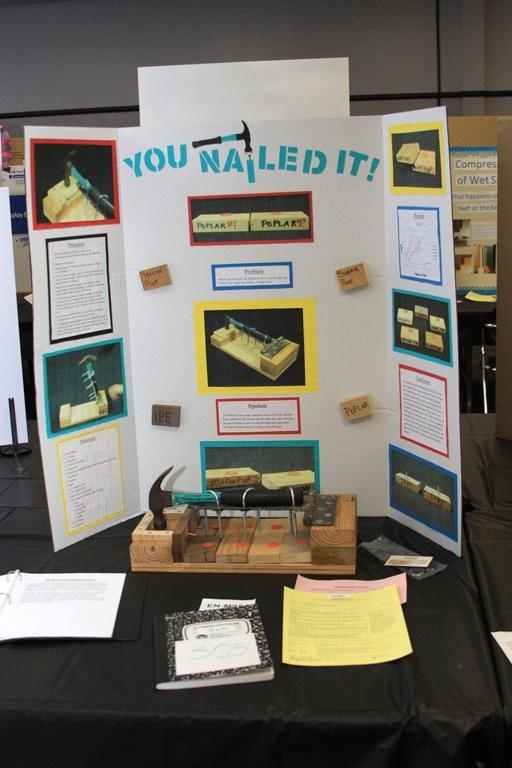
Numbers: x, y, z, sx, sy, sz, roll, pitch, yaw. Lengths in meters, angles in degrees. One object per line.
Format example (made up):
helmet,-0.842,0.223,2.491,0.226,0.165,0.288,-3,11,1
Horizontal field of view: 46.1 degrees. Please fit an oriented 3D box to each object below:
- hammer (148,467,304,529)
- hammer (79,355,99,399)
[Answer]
hammer,-0.070,0.240,1.280,0.321,0.148,0.061,-2,8,10
hammer,-0.378,-0.016,1.367,0.041,0.101,0.005,-11,13,-44
